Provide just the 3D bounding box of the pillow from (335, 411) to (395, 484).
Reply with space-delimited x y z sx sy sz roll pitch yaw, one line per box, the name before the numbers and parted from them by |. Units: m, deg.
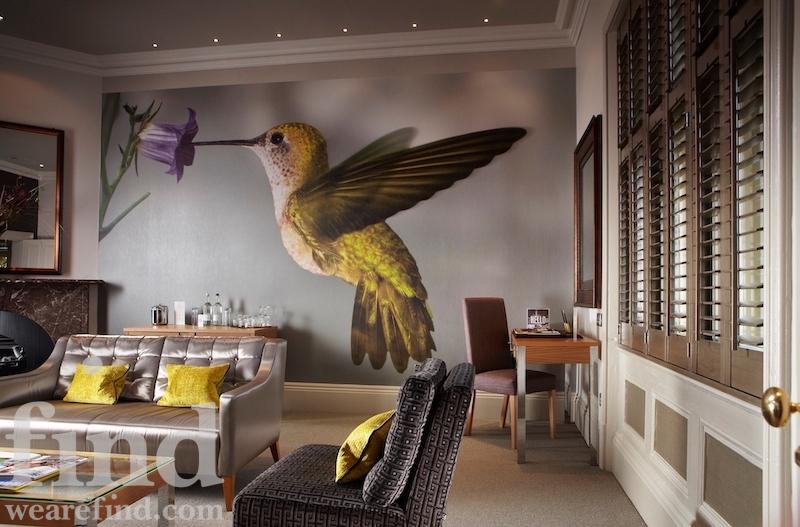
pillow | -0.141 1.070 2.869 0.117 0.394 0.362 31 -36 -22
